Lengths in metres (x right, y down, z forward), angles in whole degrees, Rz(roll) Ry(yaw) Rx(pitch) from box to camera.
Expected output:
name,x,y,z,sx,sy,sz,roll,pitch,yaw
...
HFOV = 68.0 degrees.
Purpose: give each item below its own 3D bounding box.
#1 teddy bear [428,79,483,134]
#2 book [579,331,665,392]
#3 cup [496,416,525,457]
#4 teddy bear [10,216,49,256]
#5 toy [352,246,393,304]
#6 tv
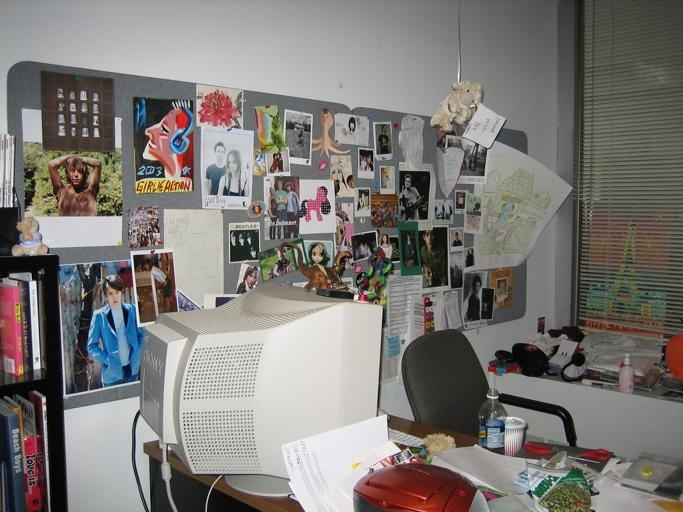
name,x,y,z,sx,sy,sz,roll,pitch,yaw
teddy bear,0.501,-0.618,2.072,0.134,0.107,0.206,-4,0,-33
book,1.622,0.588,2.961,0.434,0.153,0.714,5,9,33
cup,0.622,0.660,1.840,0.095,0.124,0.081,-3,6,2
teddy bear,-0.925,-0.058,1.505,0.087,0.105,0.112,-5,9,-32
toy,0.140,0.080,2.468,0.091,0.277,0.157,6,-13,37
tv,-0.268,0.272,1.548,0.545,0.562,0.565,-3,7,-29
